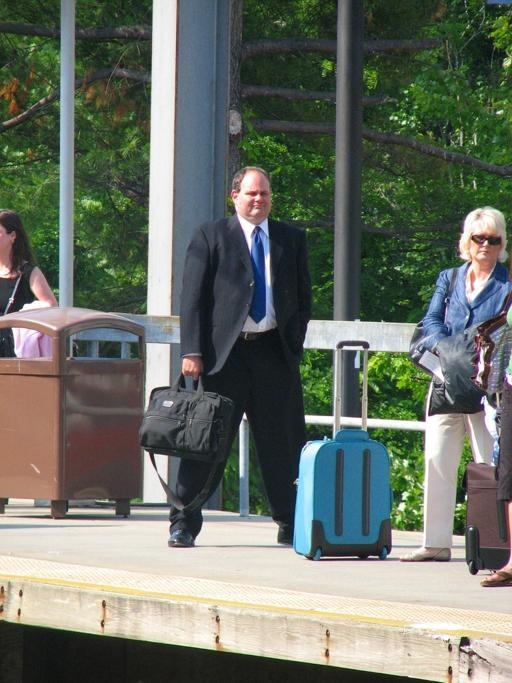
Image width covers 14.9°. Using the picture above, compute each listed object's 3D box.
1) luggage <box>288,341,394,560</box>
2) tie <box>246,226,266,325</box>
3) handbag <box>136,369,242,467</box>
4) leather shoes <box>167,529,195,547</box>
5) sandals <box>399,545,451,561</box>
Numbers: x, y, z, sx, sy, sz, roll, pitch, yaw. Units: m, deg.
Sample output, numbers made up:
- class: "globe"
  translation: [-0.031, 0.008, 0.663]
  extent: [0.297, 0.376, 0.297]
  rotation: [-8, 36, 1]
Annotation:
- class: "luggage"
  translation: [0.424, 0.504, 9.189]
  extent: [0.473, 0.666, 0.567]
  rotation: [1, 1, 2]
- class: "tie"
  translation: [0.018, -0.314, 9.301]
  extent: [0.076, 0.461, 0.113]
  rotation: [1, 1, -3]
- class: "handbag"
  translation: [-0.315, 0.370, 9.507]
  extent: [0.503, 0.518, 0.223]
  rotation: [4, -18, 31]
- class: "leather shoes"
  translation: [-0.345, 0.930, 9.210]
  extent: [0.124, 0.049, 0.149]
  rotation: [1, 1, -2]
- class: "sandals"
  translation: [0.806, 0.986, 9.056]
  extent: [0.213, 0.095, 0.089]
  rotation: [2, -5, -1]
